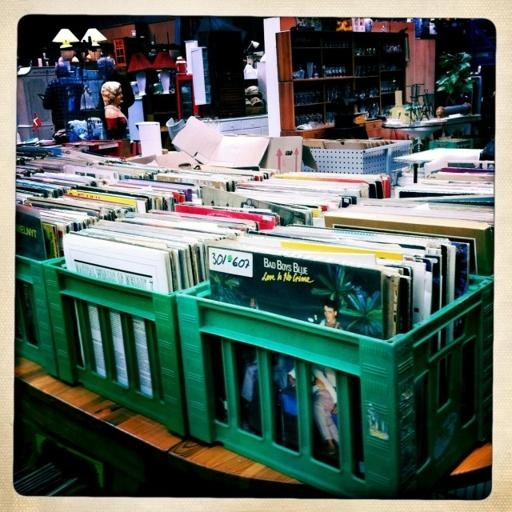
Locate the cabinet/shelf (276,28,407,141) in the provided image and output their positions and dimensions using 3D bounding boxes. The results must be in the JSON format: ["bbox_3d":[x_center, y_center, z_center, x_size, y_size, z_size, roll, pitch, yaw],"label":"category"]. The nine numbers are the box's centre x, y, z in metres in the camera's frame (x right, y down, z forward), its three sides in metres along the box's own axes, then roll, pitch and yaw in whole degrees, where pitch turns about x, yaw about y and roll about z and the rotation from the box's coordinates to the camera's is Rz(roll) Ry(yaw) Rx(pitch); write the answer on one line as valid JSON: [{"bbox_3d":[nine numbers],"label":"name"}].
[{"bbox_3d":[1.452,-2.533,7.619,2.422,1.563,0.400,-17,22,-31],"label":"cabinet/shelf"}]

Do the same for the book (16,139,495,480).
[{"bbox_3d":[-0.080,0.088,1.153,0.943,0.313,0.548,12,20,39],"label":"book"}]
